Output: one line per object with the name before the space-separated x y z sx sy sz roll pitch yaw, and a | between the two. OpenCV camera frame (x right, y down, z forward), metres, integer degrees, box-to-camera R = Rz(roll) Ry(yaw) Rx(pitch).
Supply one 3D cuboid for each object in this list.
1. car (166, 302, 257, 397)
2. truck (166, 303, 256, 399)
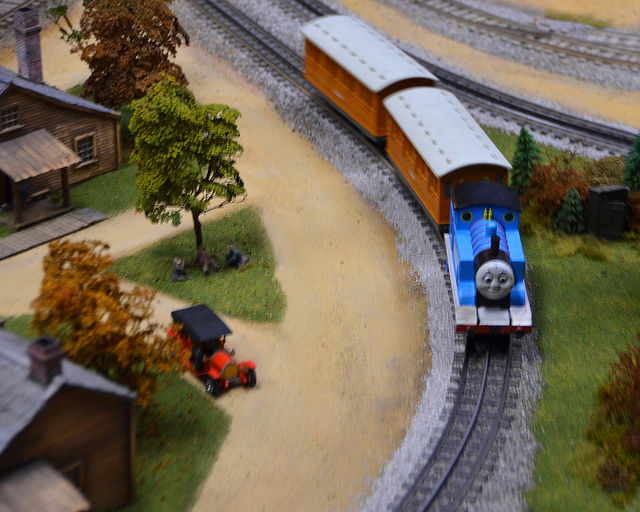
car | -4.009 3.054 18.391 1.708 2.095 3.688 -10 25 -44
truck | -3.896 2.823 18.118 1.738 2.023 3.989 -25 55 -21
